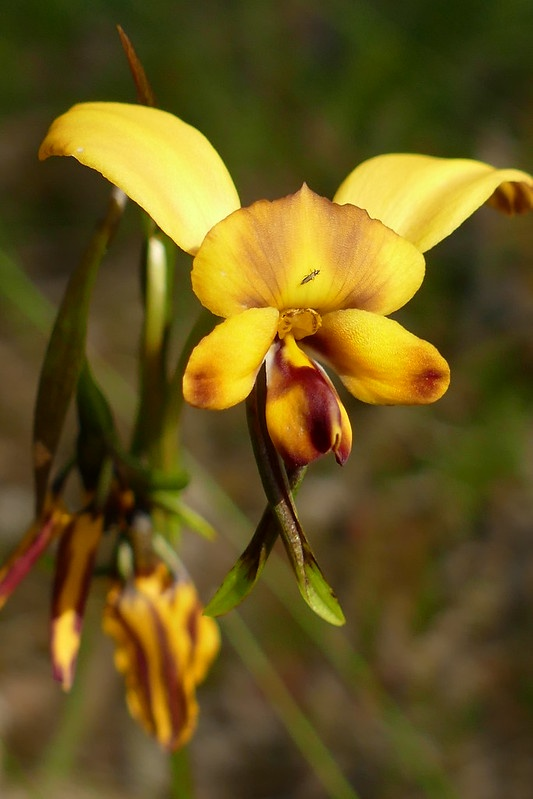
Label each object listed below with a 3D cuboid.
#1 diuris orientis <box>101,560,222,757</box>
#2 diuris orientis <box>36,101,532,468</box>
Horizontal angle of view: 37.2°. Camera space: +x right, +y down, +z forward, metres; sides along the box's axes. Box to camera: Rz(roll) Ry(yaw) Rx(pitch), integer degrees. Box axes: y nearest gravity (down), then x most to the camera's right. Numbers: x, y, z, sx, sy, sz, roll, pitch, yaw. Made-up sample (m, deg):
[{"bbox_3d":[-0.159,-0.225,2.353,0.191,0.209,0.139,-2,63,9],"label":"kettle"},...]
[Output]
[{"bbox_3d":[-0.048,0.113,0.370,0.060,0.080,0.031,-12,12,-35],"label":"diuris orientis"},{"bbox_3d":[-0.013,-0.043,0.366,0.243,0.089,0.152,3,50,-21],"label":"diuris orientis"}]
